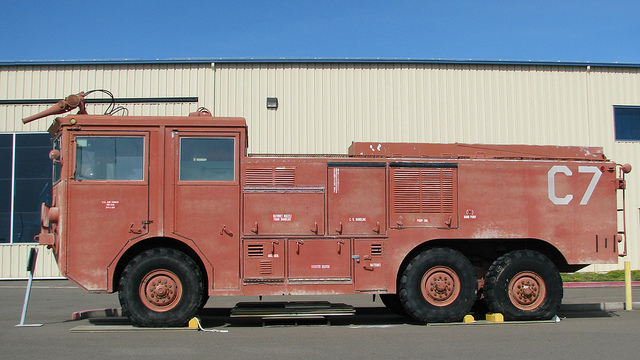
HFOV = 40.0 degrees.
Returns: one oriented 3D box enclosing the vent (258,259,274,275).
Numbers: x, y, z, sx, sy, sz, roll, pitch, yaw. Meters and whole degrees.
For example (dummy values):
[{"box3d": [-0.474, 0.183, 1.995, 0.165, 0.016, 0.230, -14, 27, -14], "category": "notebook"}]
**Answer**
[{"box3d": [-1.867, 2.998, 30.270, 0.540, 0.512, 0.103, -1, 8, -5], "category": "vent"}]
